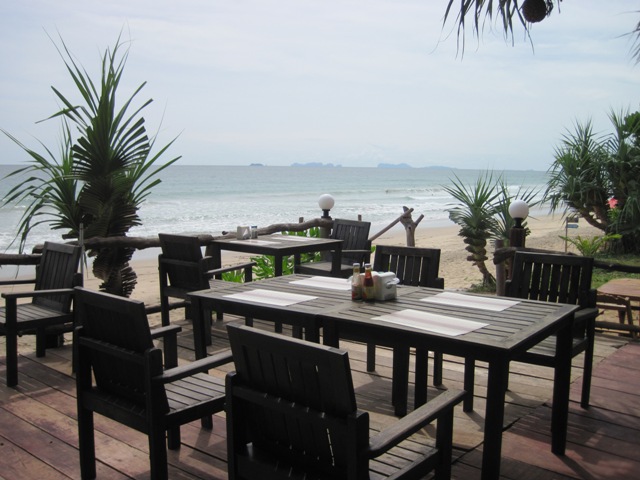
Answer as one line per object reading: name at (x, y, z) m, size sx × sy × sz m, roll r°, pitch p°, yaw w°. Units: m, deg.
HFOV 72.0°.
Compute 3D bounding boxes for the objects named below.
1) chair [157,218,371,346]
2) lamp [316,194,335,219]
chair at (-0.537, 0.390, 5.797) m, size 1.361 × 1.085 × 2.931 m, roll 6°, pitch 12°, yaw 37°
lamp at (0.108, -0.522, 6.988) m, size 0.199 × 0.405 × 0.381 m, roll -4°, pitch 11°, yaw -2°
